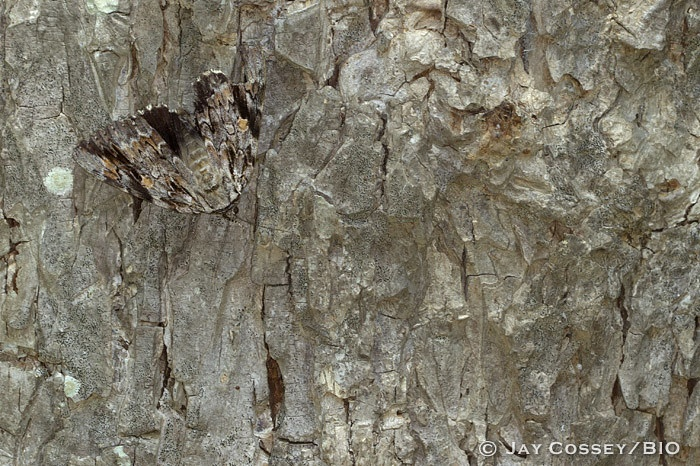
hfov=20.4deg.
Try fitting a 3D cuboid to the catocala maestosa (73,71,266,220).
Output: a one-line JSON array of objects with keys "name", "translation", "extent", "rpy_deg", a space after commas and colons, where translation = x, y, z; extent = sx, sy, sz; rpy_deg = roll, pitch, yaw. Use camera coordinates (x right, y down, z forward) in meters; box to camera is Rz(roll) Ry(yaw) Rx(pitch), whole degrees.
[{"name": "catocala maestosa", "translation": [-0.810, -0.406, 9.047], "extent": [0.878, 0.557, 0.338], "rpy_deg": [-9, 30, -3]}]
